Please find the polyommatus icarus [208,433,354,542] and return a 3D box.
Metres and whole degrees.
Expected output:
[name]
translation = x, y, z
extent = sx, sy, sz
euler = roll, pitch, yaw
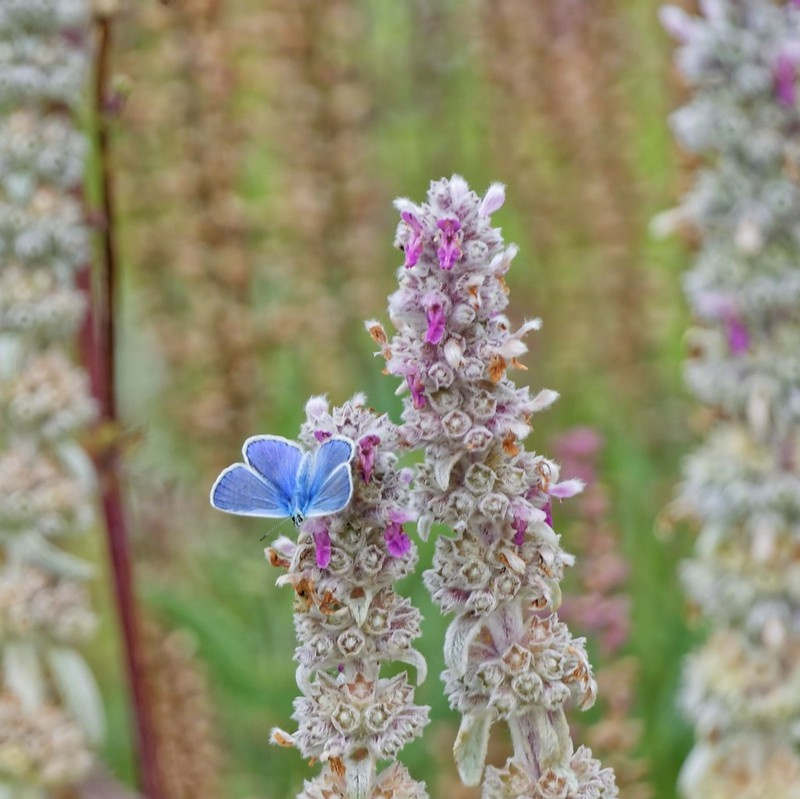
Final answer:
[polyommatus icarus]
translation = -0.171, 0.156, 2.893
extent = 0.227, 0.190, 0.119
euler = -5, -62, -7
